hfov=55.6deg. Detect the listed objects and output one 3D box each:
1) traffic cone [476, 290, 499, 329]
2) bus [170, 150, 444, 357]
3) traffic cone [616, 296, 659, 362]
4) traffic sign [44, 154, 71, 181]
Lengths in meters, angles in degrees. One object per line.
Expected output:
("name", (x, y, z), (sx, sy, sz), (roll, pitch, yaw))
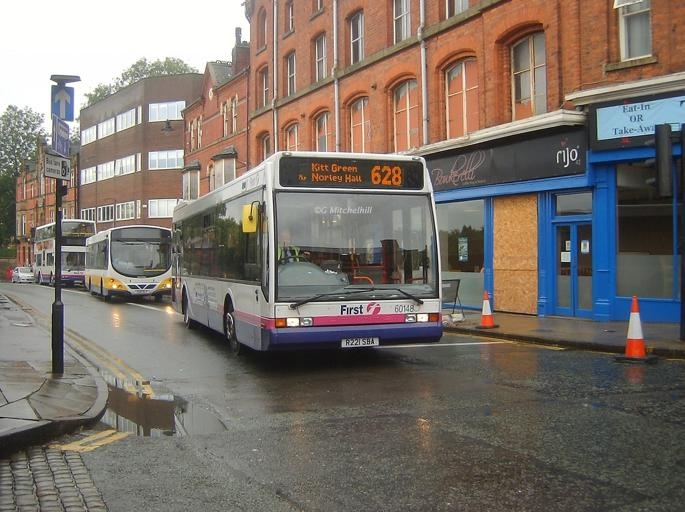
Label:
("traffic cone", (3.511, 1.309, 15.903), (0.719, 0.938, 0.733), (-3, -5, -8))
("bus", (-1.048, 0.022, 12.565), (2.810, 3.594, 5.902), (-2, 2, -33))
("traffic cone", (5.106, 1.245, 11.379), (0.798, 1.077, 0.881), (0, 1, 15))
("traffic sign", (-4.295, -1.359, 9.814), (0.067, 0.400, 0.513), (-1, -3, 15))
